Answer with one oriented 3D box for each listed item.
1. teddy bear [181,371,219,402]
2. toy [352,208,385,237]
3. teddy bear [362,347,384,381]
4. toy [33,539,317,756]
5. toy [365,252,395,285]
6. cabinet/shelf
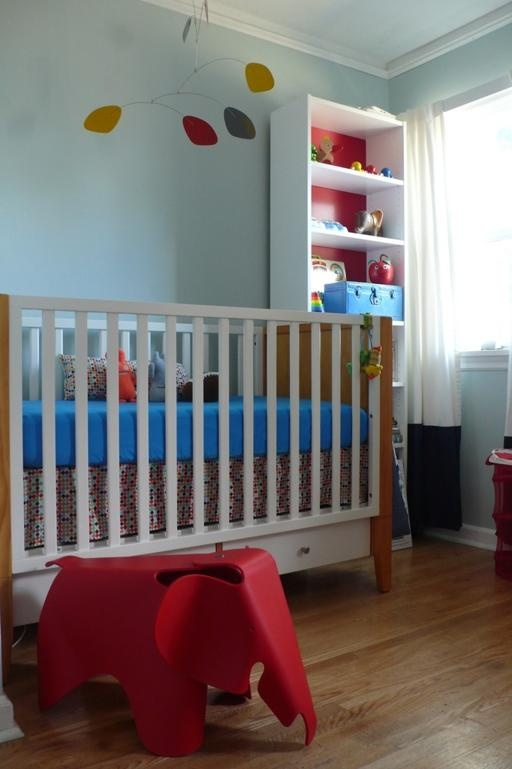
[{"bbox_3d":[-0.177,0.011,1.897,0.118,0.125,0.087,1,-2,-34],"label":"teddy bear"},{"bbox_3d":[0.508,-0.725,2.657,0.094,0.108,0.148,2,13,31],"label":"toy"},{"bbox_3d":[0.351,-0.066,1.785,0.043,0.092,0.085,2,-5,29],"label":"teddy bear"},{"bbox_3d":[-0.164,0.465,1.129,0.470,0.345,0.328,4,1,10],"label":"toy"},{"bbox_3d":[0.551,-0.499,2.664,0.134,0.179,0.132,0,-2,4],"label":"toy"},{"bbox_3d":[0.340,-0.636,2.619,0.331,1.456,0.186,6,1,-18],"label":"cabinet/shelf"}]
